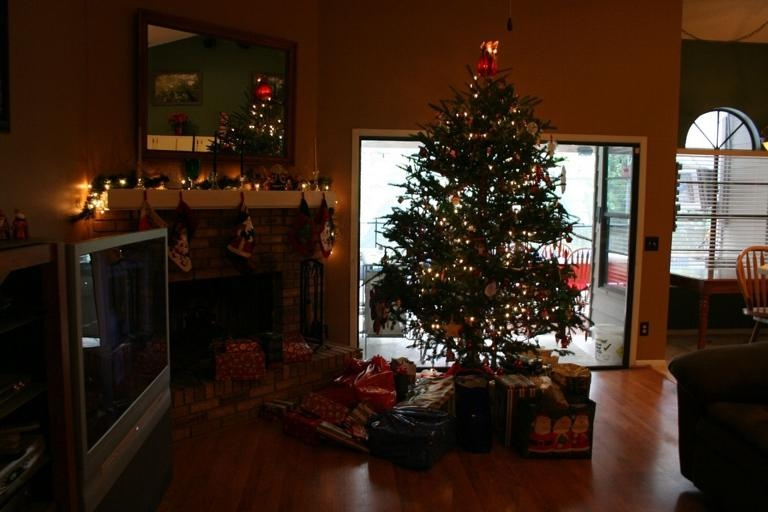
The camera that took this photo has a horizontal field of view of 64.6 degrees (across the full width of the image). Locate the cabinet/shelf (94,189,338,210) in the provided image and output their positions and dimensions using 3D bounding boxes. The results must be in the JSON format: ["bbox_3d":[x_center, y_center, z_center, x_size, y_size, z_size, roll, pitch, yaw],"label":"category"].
[{"bbox_3d":[-1.350,-0.469,5.072,1.826,0.184,0.281,-3,6,-19],"label":"cabinet/shelf"}]

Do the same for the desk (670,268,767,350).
[{"bbox_3d":[3.436,0.498,6.449,0.932,0.731,0.751,0,0,-3],"label":"desk"}]

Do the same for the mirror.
[{"bbox_3d":[-1.526,-1.460,5.210,1.438,1.228,0.106,1,0,-32],"label":"mirror"}]

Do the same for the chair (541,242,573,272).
[{"bbox_3d":[1.758,-0.030,6.072,0.327,0.161,0.429,5,11,30],"label":"chair"}]
